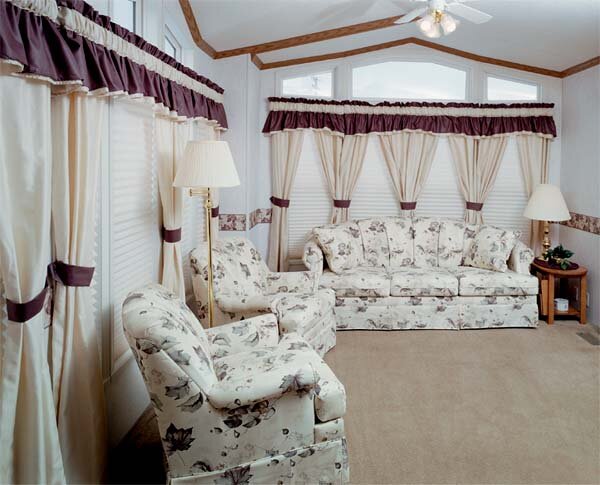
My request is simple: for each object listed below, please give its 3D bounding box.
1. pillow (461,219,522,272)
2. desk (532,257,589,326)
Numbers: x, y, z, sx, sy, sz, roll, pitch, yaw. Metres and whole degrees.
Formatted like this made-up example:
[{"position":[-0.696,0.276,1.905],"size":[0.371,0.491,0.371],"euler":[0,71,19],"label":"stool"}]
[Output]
[{"position":[2.050,0.030,4.901],"size":[0.147,0.488,0.464],"euler":[26,-11,-30],"label":"pillow"},{"position":[2.796,0.543,5.017],"size":[0.517,0.839,0.719],"euler":[0,-1,5],"label":"desk"}]
